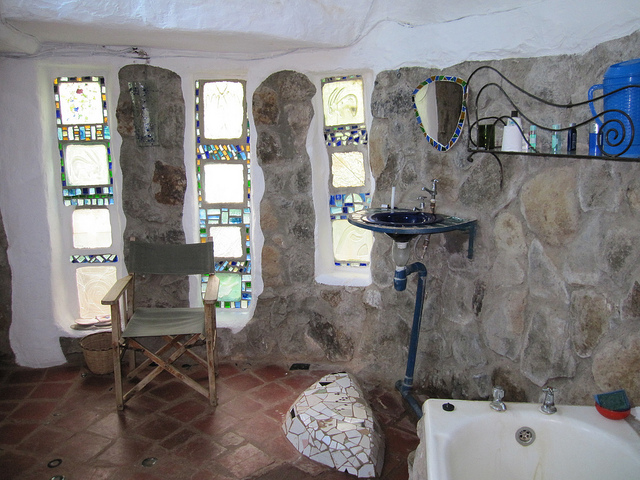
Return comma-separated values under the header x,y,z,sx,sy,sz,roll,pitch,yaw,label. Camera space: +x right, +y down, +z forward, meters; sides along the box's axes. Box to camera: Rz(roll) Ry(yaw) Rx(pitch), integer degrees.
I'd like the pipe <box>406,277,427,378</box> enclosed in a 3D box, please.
x,y,z,sx,sy,sz,roll,pitch,yaw,label
0.638,0.579,3.430,0.122,0.724,0.236,0,10,11,pipe

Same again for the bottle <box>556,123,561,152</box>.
x,y,z,sx,sy,sz,roll,pitch,yaw,label
1.275,-0.552,2.748,0.021,0.156,0.110,2,10,20,bottle

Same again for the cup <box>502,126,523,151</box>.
x,y,z,sx,sy,sz,roll,pitch,yaw,label
1.048,-0.555,2.804,0.129,0.137,0.121,-4,14,1,cup

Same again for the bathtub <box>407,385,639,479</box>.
x,y,z,sx,sy,sz,roll,pitch,yaw,label
0.959,0.952,2.349,0.964,0.412,0.418,-1,9,5,bathtub

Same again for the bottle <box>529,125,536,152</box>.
x,y,z,sx,sy,sz,roll,pitch,yaw,label
1.182,-0.582,2.859,0.032,0.122,0.039,2,10,23,bottle

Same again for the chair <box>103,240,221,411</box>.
x,y,z,sx,sy,sz,roll,pitch,yaw,label
-1.054,0.569,3.645,0.914,1.017,0.912,8,14,20,chair

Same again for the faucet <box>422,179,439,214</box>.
x,y,z,sx,sy,sz,roll,pitch,yaw,label
0.712,-0.281,3.292,0.094,0.215,0.219,0,9,13,faucet

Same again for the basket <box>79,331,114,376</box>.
x,y,z,sx,sy,sz,roll,pitch,yaw,label
-1.663,0.874,3.848,0.223,0.300,0.266,-6,10,-25,basket

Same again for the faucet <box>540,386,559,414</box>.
x,y,z,sx,sy,sz,roll,pitch,yaw,label
1.117,0.787,2.532,0.105,0.102,0.103,-1,2,-25,faucet

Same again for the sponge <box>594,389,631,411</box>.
x,y,z,sx,sy,sz,roll,pitch,yaw,label
1.376,0.757,2.420,0.133,0.079,0.071,-2,9,-3,sponge

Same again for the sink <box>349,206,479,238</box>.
x,y,z,sx,sy,sz,roll,pitch,yaw,label
0.530,-0.113,3.176,0.708,0.166,0.673,6,11,41,sink

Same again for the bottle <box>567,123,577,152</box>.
x,y,z,sx,sy,sz,roll,pitch,yaw,label
1.321,-0.541,2.694,0.043,0.153,0.100,3,10,26,bottle

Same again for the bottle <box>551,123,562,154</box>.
x,y,z,sx,sy,sz,roll,pitch,yaw,label
1.258,-0.547,2.743,0.053,0.163,0.165,2,10,24,bottle

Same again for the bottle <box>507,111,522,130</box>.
x,y,z,sx,sy,sz,roll,pitch,yaw,label
1.053,-0.664,2.802,0.058,0.079,0.058,-2,9,0,bottle

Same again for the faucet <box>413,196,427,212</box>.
x,y,z,sx,sy,sz,roll,pitch,yaw,label
0.661,-0.239,3.378,0.089,0.084,0.126,-7,13,7,faucet

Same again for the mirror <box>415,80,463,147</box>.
x,y,z,sx,sy,sz,roll,pitch,yaw,label
0.755,-0.808,3.212,0.370,0.431,0.074,15,29,32,mirror
